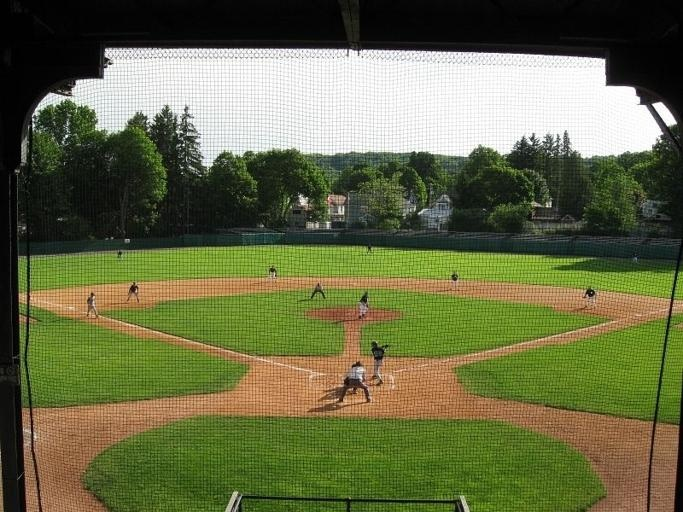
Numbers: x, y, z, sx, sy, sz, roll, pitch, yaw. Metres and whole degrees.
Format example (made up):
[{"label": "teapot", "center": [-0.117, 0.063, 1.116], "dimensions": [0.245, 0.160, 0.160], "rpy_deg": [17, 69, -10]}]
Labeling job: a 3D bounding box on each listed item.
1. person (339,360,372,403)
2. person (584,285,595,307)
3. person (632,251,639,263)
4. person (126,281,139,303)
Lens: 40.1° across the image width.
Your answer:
[{"label": "person", "center": [0.474, 3.826, 28.876], "dimensions": [0.970, 1.315, 0.690], "rpy_deg": [3, -9, 3]}, {"label": "person", "center": [10.815, 1.698, 40.655], "dimensions": [0.584, 0.953, 0.248], "rpy_deg": [2, -34, 19]}, {"label": "person", "center": [17.022, -0.027, 53.917], "dimensions": [0.395, 0.555, 0.807], "rpy_deg": [3, 11, 19]}, {"label": "person", "center": [-9.258, 1.585, 41.360], "dimensions": [0.689, 0.429, 1.392], "rpy_deg": [-5, -31, -21]}]
